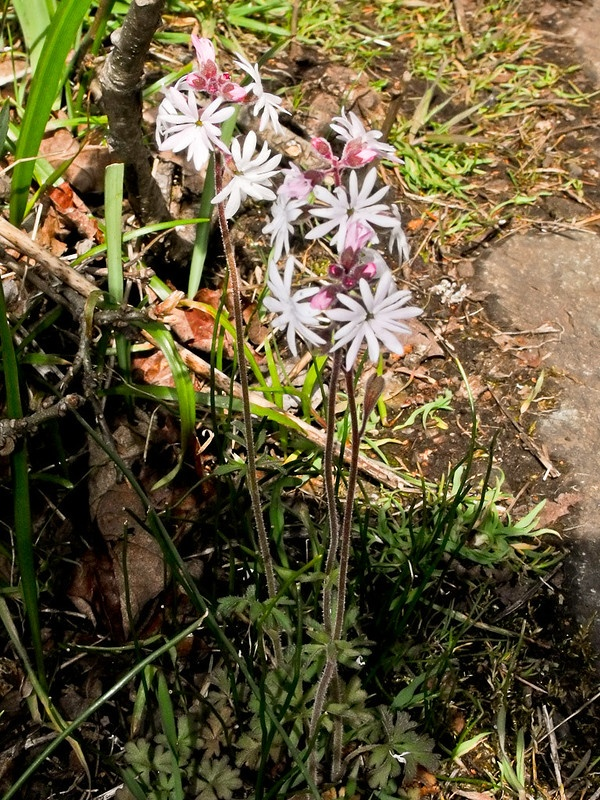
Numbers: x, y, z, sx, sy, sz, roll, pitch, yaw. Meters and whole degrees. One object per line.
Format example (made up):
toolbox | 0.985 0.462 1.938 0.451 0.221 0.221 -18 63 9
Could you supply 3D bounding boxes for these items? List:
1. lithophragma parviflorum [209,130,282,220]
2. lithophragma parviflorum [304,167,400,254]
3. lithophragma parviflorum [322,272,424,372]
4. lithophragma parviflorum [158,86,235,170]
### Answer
lithophragma parviflorum | -0.142 -0.559 2.028 0.167 0.172 0.067 34 79 10
lithophragma parviflorum | 0.113 -0.448 1.919 0.193 0.176 0.045 -1 72 -36
lithophragma parviflorum | 0.161 -0.202 1.875 0.163 0.172 0.056 8 62 20
lithophragma parviflorum | -0.241 -0.650 1.979 0.114 0.122 0.048 41 61 -21
